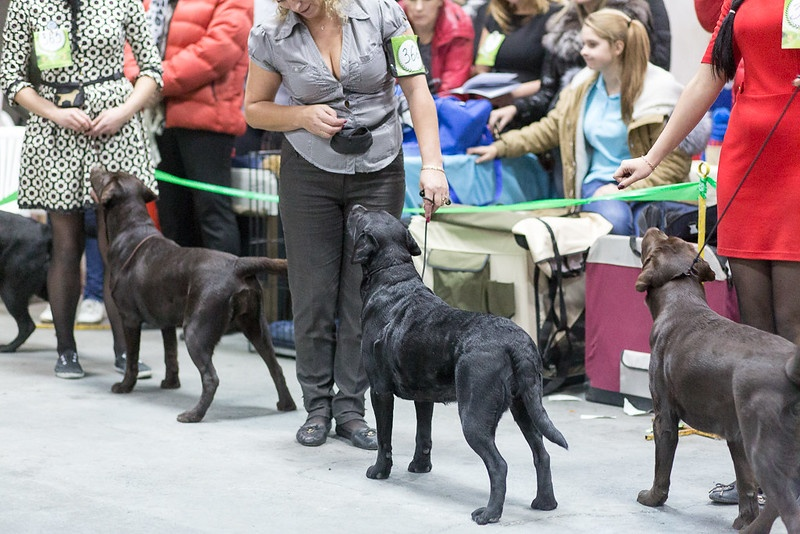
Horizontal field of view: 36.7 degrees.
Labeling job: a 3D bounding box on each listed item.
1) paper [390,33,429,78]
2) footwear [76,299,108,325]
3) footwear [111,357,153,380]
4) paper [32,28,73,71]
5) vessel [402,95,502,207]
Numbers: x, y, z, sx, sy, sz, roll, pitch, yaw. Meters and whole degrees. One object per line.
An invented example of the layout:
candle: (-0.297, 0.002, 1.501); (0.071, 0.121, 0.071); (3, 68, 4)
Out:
paper: (0.051, -1.041, 5.959); (0.197, 0.194, 0.064); (-7, -1, -32)
footwear: (-2.193, 0.322, 8.501); (0.163, 0.149, 0.351); (2, -4, -6)
footwear: (-1.606, 0.610, 7.240); (0.104, 0.109, 0.284); (0, 2, -37)
paper: (-1.987, -1.244, 6.879); (0.192, 0.205, 0.030); (-16, -3, -11)
vessel: (0.413, -0.798, 8.121); (0.684, 0.723, 0.631); (-12, 18, 13)
